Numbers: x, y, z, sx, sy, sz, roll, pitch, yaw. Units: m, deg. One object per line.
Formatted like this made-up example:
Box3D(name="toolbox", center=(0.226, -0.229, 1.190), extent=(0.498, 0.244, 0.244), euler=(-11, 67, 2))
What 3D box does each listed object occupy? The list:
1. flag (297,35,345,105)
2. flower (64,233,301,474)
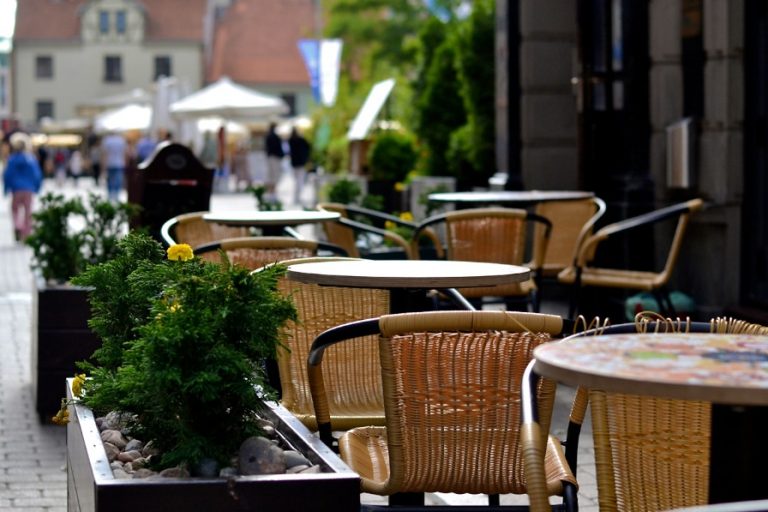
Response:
Box3D(name="flag", center=(-0.644, -2.017, 16.882), extent=(0.484, 0.755, 0.184), euler=(2, 11, 9))
Box3D(name="flower", center=(-1.189, 0.670, 8.950), extent=(0.969, 1.054, 1.185), euler=(9, -42, -26))
